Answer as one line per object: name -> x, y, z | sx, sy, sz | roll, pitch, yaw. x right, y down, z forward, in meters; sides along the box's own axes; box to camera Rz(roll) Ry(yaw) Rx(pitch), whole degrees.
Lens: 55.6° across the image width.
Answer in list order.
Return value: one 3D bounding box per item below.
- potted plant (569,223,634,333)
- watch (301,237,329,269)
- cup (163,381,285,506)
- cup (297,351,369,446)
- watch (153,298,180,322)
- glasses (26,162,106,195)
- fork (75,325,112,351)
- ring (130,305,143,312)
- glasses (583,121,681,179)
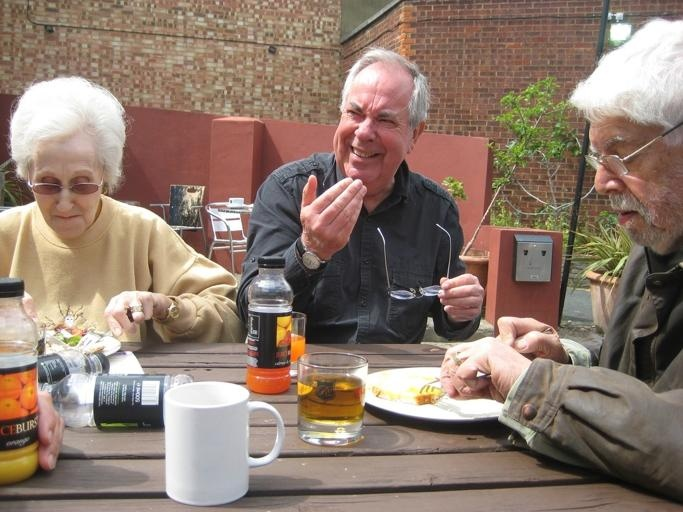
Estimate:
potted plant -> 2.547, 0.188, 5.989 | 0.601, 0.953, 0.732 | 3, -1, 19
watch -> -0.114, -0.006, 2.397 | 0.080, 0.059, 0.106 | 3, 36, 0
cup -> -0.291, 0.405, 1.410 | 0.179, 0.235, 0.117 | -1, 9, -8
cup -> -0.022, 0.340, 1.628 | 0.201, 0.236, 0.205 | 1, 3, 0
watch -> -0.641, 0.204, 2.373 | 0.089, 0.089, 0.079 | -19, 27, -28
glasses -> -1.065, -0.274, 2.520 | 0.273, 0.074, 0.143 | -4, 9, -27
fork -> -0.805, 0.266, 2.093 | 0.068, 0.018, 0.074 | 7, 20, 2
ring -> -0.697, 0.177, 2.199 | 0.026, 0.020, 0.026 | 1, -1, 0
glasses -> 0.874, -0.316, 1.938 | 0.152, 0.046, 0.148 | -30, 7, 6
